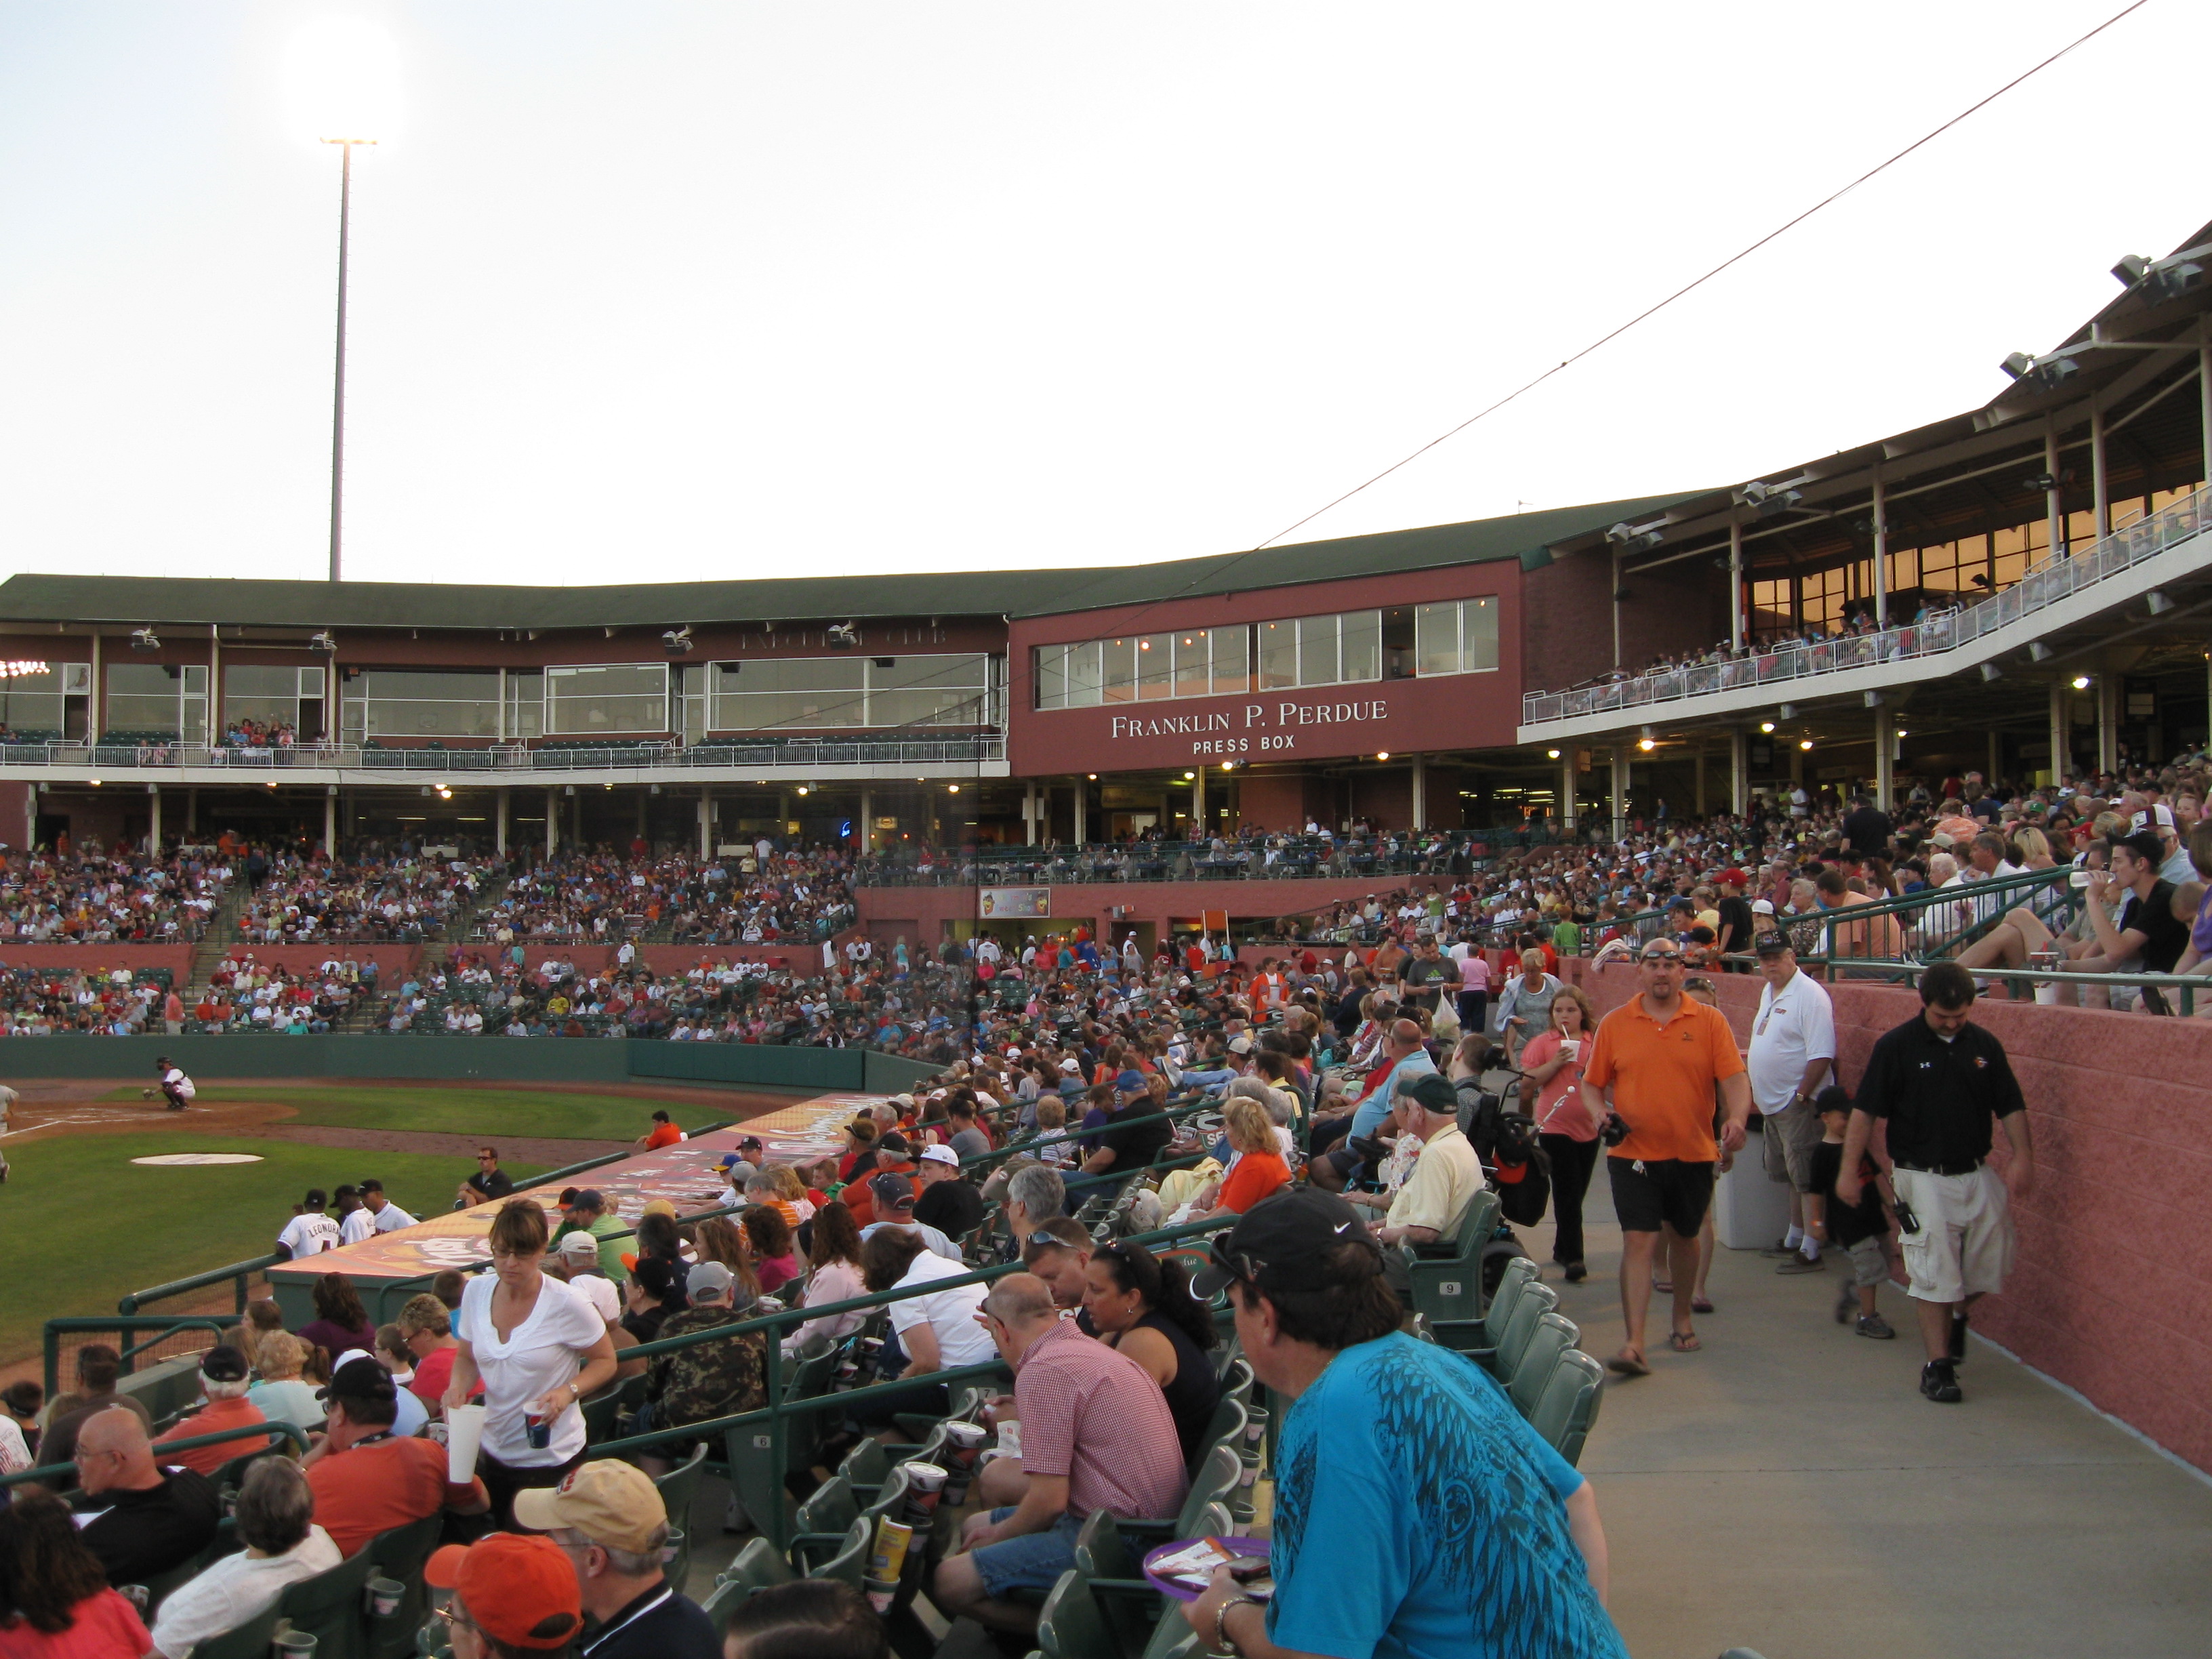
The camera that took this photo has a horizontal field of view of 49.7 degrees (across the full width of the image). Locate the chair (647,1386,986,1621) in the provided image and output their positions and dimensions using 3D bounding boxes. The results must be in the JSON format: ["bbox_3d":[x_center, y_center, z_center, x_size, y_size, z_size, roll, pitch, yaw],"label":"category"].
[{"bbox_3d":[-1.594,3.360,11.705,1.419,1.478,1.142,1,-6,8],"label":"chair"}]

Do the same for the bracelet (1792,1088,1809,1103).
[{"bbox_3d":[3.964,1.514,13.641,0.102,0.076,0.092,1,-2,7],"label":"bracelet"}]

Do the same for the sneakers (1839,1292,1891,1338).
[{"bbox_3d":[4.162,2.688,13.099,0.160,0.116,0.298,9,-2,-27],"label":"sneakers"}]

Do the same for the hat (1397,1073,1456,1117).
[{"bbox_3d":[1.664,1.389,12.513,0.192,0.130,0.274,3,7,-34],"label":"hat"}]

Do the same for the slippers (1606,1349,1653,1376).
[{"bbox_3d":[2.785,2.841,12.745,0.230,0.155,0.160,5,15,11],"label":"slippers"}]

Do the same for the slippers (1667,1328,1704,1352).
[{"bbox_3d":[3.161,2.791,13.061,0.118,0.066,0.271,-3,-8,1],"label":"slippers"}]

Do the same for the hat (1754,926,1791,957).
[{"bbox_3d":[3.779,0.628,13.546,0.178,0.170,0.274,10,16,28],"label":"hat"}]

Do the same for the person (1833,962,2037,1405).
[{"bbox_3d":[4.259,1.770,12.376,0.886,2.281,1.052,7,16,16],"label":"person"}]

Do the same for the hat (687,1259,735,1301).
[{"bbox_3d":[-2.213,2.522,13.417,0.206,0.202,0.230,4,6,21],"label":"hat"}]

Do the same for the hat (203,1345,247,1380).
[{"bbox_3d":[-4.677,2.809,12.605,0.187,0.183,0.198,10,-8,-7],"label":"hat"}]

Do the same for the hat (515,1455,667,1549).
[{"bbox_3d":[-2.068,2.719,9.700,0.576,0.242,0.335,8,-2,10],"label":"hat"}]

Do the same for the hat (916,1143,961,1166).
[{"bbox_3d":[-1.195,2.235,16.638,0.262,0.080,0.179,8,-4,26],"label":"hat"}]
